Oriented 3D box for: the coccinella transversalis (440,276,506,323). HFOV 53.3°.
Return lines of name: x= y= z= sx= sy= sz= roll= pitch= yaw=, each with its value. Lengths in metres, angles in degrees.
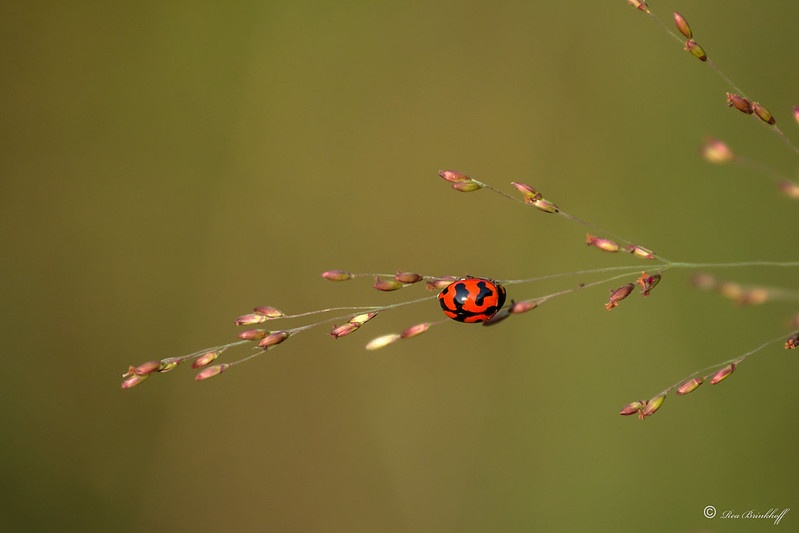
coccinella transversalis: x=0.277 y=0.116 z=2.910 sx=0.247 sy=0.203 sz=0.106 roll=-10 pitch=-28 yaw=-5
